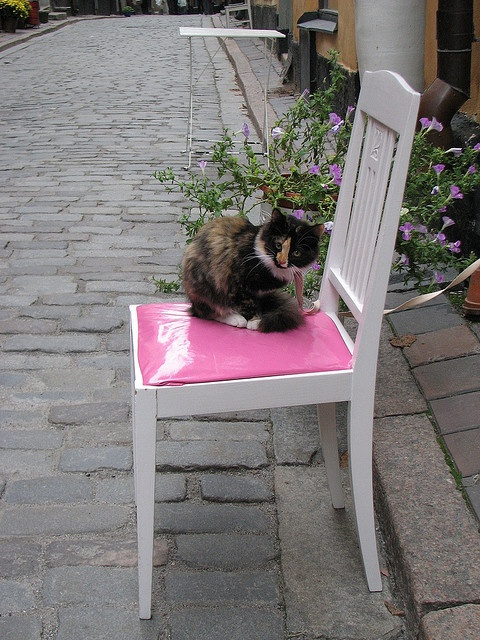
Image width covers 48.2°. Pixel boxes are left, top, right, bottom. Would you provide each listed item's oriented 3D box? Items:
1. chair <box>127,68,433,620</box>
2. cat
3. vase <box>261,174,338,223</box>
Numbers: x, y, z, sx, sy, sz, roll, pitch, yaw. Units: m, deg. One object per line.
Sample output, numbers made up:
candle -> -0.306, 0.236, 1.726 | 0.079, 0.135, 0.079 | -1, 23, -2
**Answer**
chair -> 0.045, 0.042, 1.589 | 0.848, 1.205, 0.764 | -9, 18, -17
cat -> 0.059, -0.218, 1.656 | 0.465, 0.430, 0.268 | 11, 37, 7
vase -> 0.261, -0.492, 2.263 | 0.264, 0.084, 0.253 | 8, 20, -37
